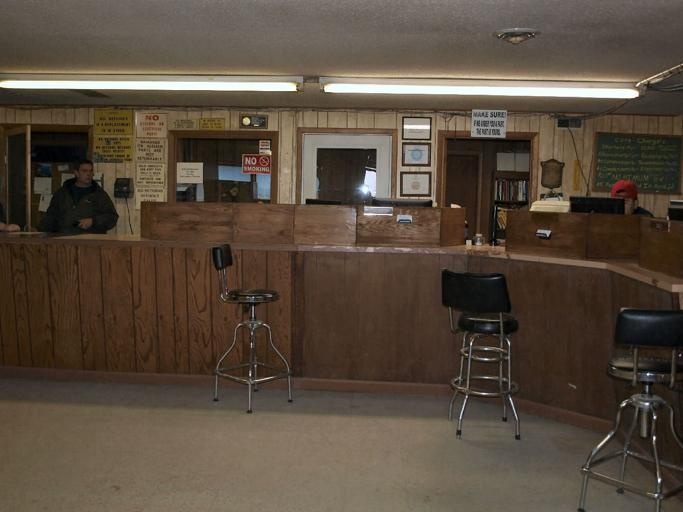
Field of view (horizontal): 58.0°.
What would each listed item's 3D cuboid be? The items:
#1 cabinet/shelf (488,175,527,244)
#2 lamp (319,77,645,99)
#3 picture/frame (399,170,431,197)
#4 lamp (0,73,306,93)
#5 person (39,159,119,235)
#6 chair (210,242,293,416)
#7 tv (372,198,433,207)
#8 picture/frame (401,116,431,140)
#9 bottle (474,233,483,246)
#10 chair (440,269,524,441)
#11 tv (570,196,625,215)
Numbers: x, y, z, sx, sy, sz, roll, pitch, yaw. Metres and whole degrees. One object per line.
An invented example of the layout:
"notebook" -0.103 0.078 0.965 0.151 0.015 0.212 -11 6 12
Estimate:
"cabinet/shelf" 2.294 -0.631 8.515 0.510 0.989 1.874 3 12 13
"lamp" 1.465 -1.745 6.415 3.115 0.131 0.591 1 12 2
"picture/frame" 0.919 -0.931 7.689 0.312 0.261 0.031 2 -1 -4
"lamp" -1.975 -1.840 6.497 3.104 0.131 0.427 1 12 2
"person" -3.082 -0.531 7.222 0.852 1.188 0.594 0 -5 -13
"chair" -0.689 0.507 4.828 0.640 1.264 0.777 -2 11 -12
"tv" 0.515 -0.458 5.222 0.524 0.051 0.301 -2 12 -15
"picture/frame" 0.929 -1.607 7.639 0.293 0.237 0.027 0 1 0
"bottle" 1.186 -0.143 5.336 0.086 0.117 0.086 -1 6 0
"chair" 1.030 0.637 4.538 0.605 1.179 0.919 3 11 11
"tv" 1.948 -0.399 4.783 0.303 0.166 0.197 -1 -3 13
